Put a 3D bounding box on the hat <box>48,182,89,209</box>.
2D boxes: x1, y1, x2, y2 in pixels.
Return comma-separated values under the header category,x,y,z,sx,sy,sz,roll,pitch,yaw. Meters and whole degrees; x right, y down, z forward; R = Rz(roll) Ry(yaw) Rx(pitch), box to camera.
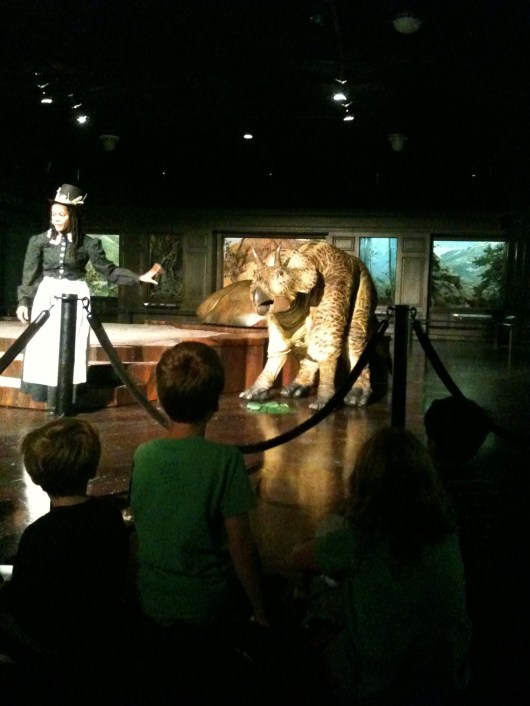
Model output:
category,x,y,z,sx,sy,sz,roll,pitch,yaw
hat,-1.400,-1.118,4.063,0.202,0.182,0.308,-9,10,-15
